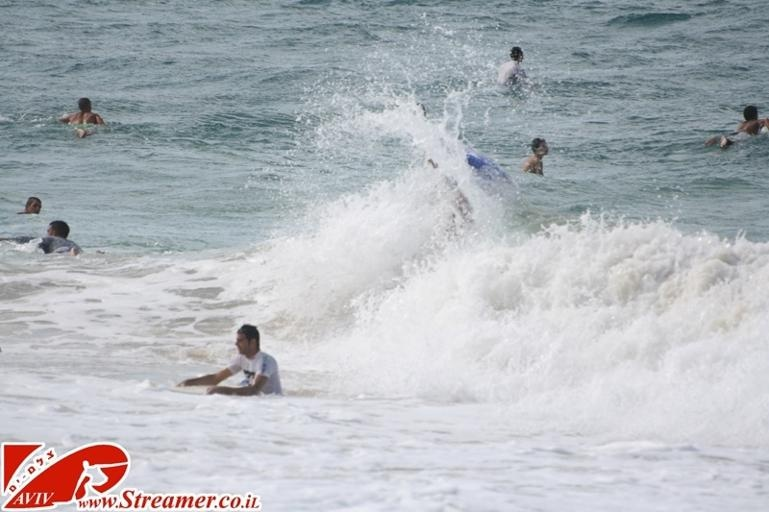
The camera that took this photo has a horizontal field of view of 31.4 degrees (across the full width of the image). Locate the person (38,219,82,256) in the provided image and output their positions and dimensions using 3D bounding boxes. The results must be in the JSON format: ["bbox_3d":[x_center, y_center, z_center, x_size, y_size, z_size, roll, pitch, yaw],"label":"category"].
[{"bbox_3d":[-8.001,-0.442,33.917,1.034,0.643,0.897,1,22,-6],"label":"person"}]

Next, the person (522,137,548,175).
[{"bbox_3d":[4.034,-2.609,36.314,0.534,0.908,1.429,8,22,9],"label":"person"}]
